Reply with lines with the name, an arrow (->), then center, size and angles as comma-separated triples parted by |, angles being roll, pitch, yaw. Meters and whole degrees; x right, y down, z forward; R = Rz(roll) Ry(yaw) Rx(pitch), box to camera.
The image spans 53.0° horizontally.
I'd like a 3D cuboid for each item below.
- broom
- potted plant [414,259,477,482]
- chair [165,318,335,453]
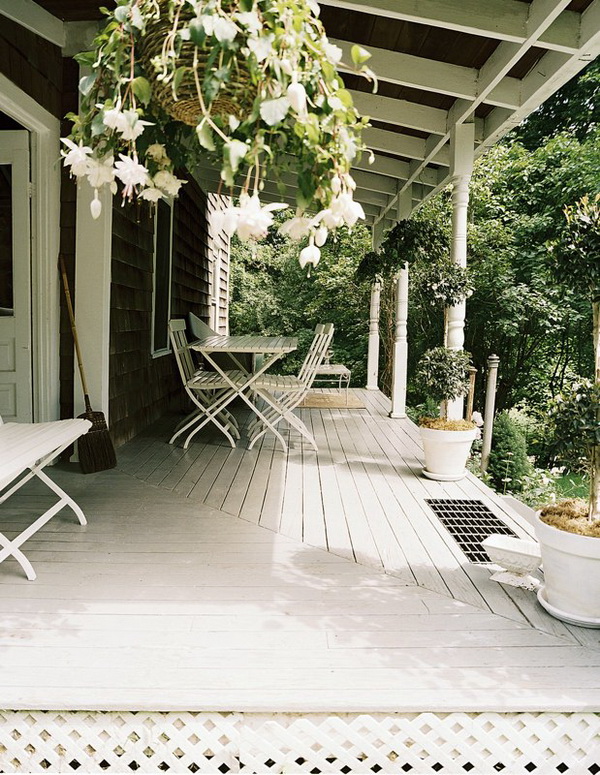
broom -> -1.367, -0.099, 3.851 | 0.152, 1.404, 0.282 | -3, 10, 17
potted plant -> 0.982, -0.101, 4.091 | 0.498, 1.470, 0.461 | -3, 5, -25
chair -> -0.495, -0.067, 5.285 | 1.272, 1.030, 1.724 | 0, 6, -12
